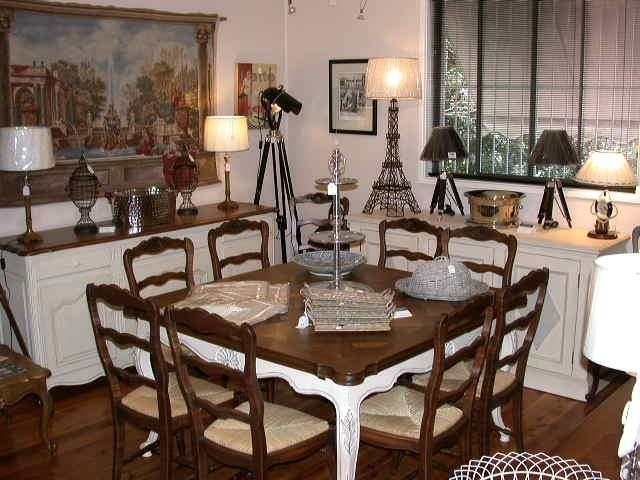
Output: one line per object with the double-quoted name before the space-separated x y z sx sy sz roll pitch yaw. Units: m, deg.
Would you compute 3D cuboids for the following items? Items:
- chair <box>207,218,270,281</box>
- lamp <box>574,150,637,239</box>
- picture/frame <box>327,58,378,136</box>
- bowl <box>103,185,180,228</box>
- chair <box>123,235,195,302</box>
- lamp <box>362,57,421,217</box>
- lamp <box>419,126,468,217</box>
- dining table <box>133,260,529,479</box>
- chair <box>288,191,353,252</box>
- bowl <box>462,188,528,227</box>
"chair" -0.631 0.065 3.872 0.326 0.664 0.326 -8 18 -29
"lamp" 2.031 -0.329 3.693 0.361 0.599 0.504 10 18 37
"picture/frame" 0.326 -1.416 5.081 0.642 0.944 0.030 9 16 38
"bowl" -1.351 -0.257 4.040 0.346 0.252 0.455 4 8 40
"chair" -1.061 0.178 3.356 0.315 0.592 0.343 -7 13 -36
"lamp" 0.652 -0.888 4.584 0.502 1.339 0.713 2 14 12
"lamp" 1.068 -0.598 4.491 0.380 0.751 0.584 3 15 16
"dining table" 0.222 0.335 2.474 1.087 0.593 1.117 5 8 39
"chair" 0.023 -0.163 4.265 0.467 0.811 0.522 0 4 10
"bowl" 1.348 -0.250 4.039 0.314 0.178 0.330 -1 10 0
